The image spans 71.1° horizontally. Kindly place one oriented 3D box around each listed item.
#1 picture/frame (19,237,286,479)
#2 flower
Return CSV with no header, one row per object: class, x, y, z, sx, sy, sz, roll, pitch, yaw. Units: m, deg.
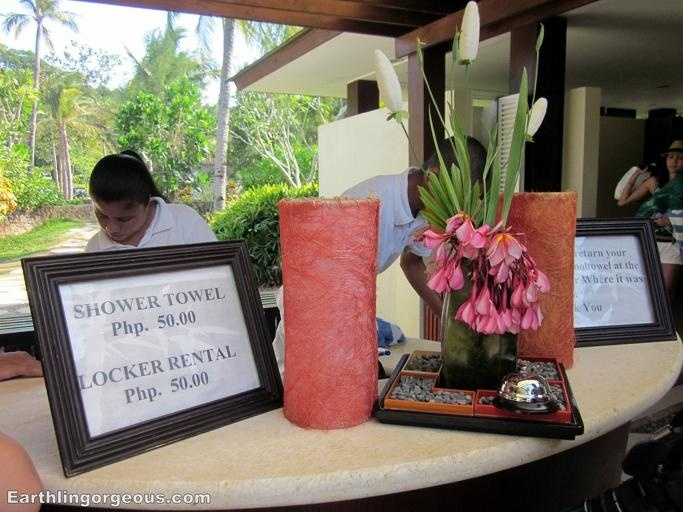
picture/frame,-0.370,0.215,0.945,0.382,0.356,0.026,-8,-13,-38
flower,0.317,-0.199,1.182,0.383,0.846,0.657,3,10,23
